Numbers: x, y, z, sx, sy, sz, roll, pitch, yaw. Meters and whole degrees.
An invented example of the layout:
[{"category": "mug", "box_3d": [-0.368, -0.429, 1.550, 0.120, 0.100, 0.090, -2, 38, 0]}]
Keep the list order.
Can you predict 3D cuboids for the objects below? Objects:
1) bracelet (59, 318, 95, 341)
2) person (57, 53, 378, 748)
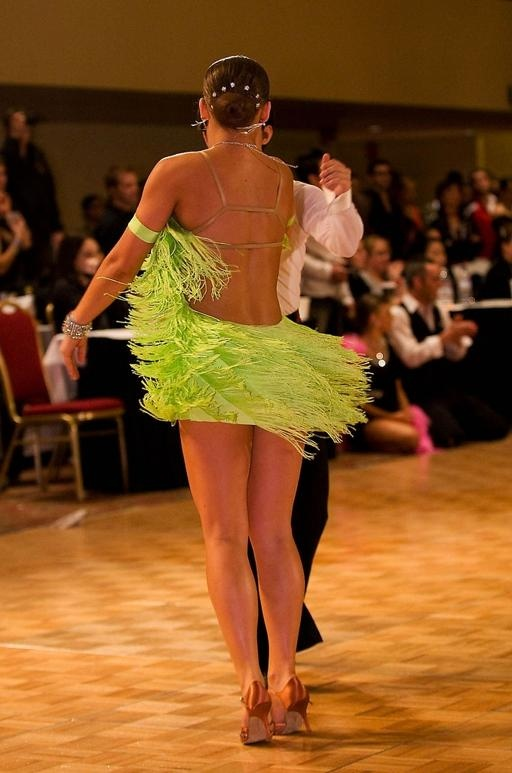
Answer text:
[{"category": "bracelet", "box_3d": [-0.299, -0.088, 1.236, 0.044, 0.028, 0.045, 2, 19, -1]}, {"category": "person", "box_3d": [-0.060, 0.043, 1.259, 0.416, 1.107, 0.449, 6, 14, 30]}]
